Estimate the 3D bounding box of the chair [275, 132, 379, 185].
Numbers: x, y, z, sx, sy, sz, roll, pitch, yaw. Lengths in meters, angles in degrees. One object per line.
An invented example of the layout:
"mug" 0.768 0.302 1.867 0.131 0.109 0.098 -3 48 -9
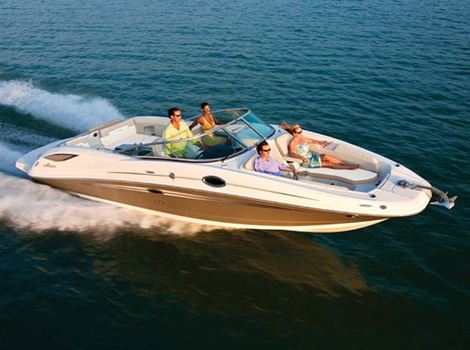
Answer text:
"chair" 1.918 -0.310 10.683 2.835 0.734 1.030 8 51 17
